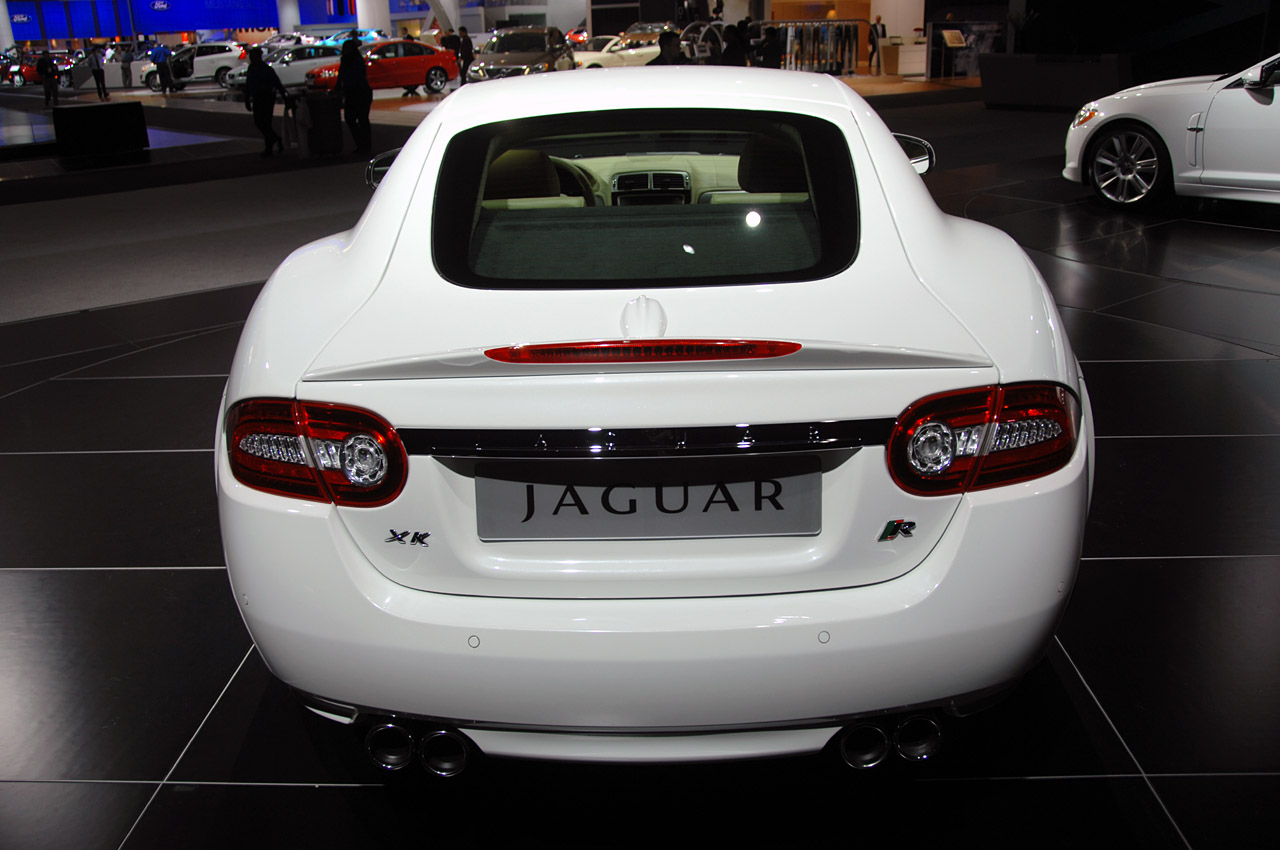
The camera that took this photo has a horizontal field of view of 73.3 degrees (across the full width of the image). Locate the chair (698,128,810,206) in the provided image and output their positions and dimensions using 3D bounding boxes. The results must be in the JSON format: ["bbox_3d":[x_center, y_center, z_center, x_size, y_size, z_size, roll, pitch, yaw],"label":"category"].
[{"bbox_3d":[0.396,-0.874,3.006,0.353,0.329,0.361,0,0,7],"label":"chair"}]

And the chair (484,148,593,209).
[{"bbox_3d":[-0.435,-0.910,3.283,0.429,0.219,0.604,1,11,-6],"label":"chair"}]

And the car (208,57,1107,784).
[{"bbox_3d":[0.034,0.060,2.307,2.064,1.413,1.099,-2,22,2],"label":"car"}]
